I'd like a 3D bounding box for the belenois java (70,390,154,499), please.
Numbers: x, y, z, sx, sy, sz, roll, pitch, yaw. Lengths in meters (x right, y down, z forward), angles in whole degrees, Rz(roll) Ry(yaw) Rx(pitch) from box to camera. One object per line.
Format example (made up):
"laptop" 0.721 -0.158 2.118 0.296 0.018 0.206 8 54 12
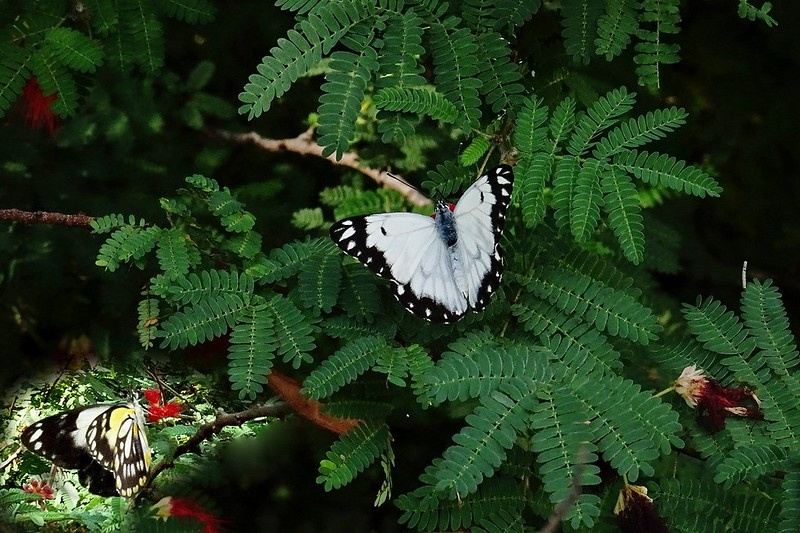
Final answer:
"belenois java" -1.486 0.953 4.293 0.397 0.447 0.234 -3 -31 10
